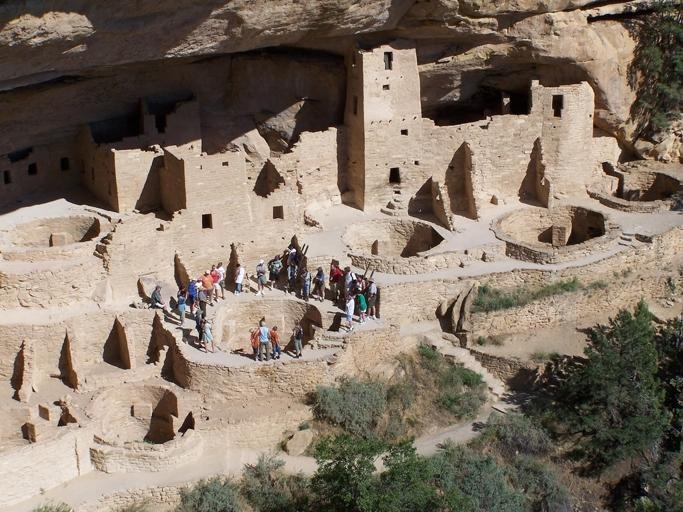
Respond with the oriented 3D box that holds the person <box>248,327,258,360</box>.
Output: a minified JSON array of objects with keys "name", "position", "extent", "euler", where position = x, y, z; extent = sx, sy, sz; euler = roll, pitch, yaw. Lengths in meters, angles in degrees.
[{"name":"person","position":[-2.975,3.095,30.148],"extent":[0.371,1.111,0.562],"euler":[-11,32,-6]}]

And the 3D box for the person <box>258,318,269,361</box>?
[{"name":"person","position":[-2.661,2.953,30.004],"extent":[0.434,1.268,0.678],"euler":[-5,32,3]}]

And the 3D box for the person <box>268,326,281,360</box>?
[{"name":"person","position":[-2.326,3.009,30.220],"extent":[0.300,1.315,0.589],"euler":[-7,32,2]}]

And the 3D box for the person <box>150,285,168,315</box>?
[{"name":"person","position":[-6.723,1.700,31.937],"extent":[0.562,0.926,0.683],"euler":[-15,32,-12]}]
